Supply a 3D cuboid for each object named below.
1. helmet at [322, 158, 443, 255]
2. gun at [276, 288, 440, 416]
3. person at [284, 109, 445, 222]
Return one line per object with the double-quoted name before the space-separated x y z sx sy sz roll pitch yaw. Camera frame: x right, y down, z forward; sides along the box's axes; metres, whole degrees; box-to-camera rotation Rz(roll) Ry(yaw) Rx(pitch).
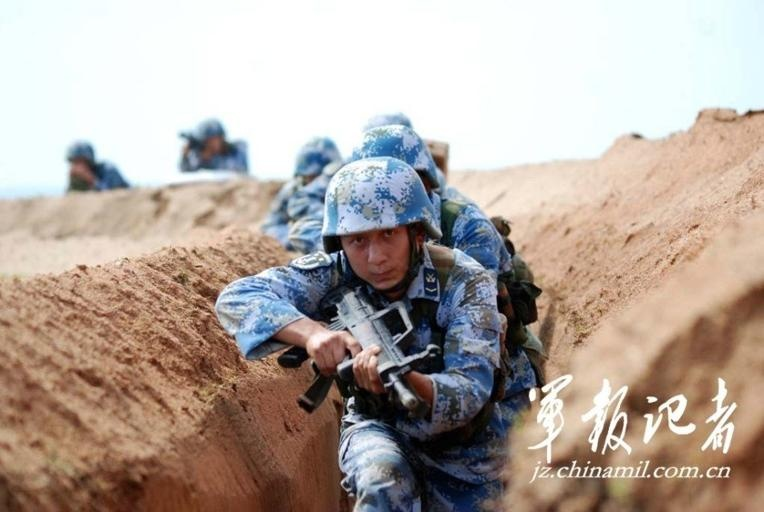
"helmet" -0.052 -0.372 6.827 0.517 0.469 0.600 -9 10 15
"gun" -0.114 0.560 6.779 0.453 0.172 0.860 -35 38 2
"person" -0.071 -0.606 8.212 0.806 0.753 1.331 -2 26 41
